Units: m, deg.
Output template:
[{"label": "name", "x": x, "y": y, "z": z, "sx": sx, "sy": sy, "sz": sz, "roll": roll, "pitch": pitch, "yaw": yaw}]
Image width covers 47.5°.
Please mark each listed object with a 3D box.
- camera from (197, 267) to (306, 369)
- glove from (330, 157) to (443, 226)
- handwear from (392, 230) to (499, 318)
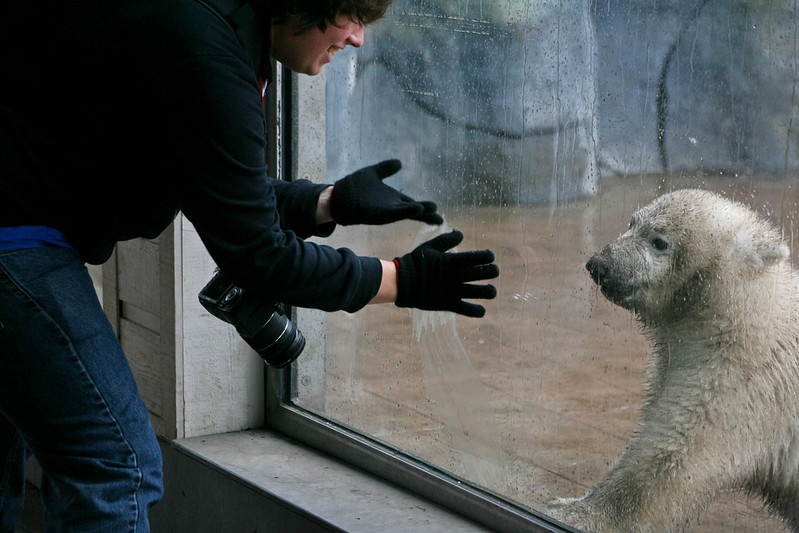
[{"label": "camera", "x": -0.336, "y": 0.112, "z": 2.128, "sx": 0.127, "sy": 0.219, "sz": 0.215, "roll": -45, "pitch": 25, "yaw": 0}, {"label": "glove", "x": -0.021, "y": -0.186, "z": 2.257, "sx": 0.179, "sy": 0.125, "sz": 0.058, "roll": 6, "pitch": -25, "yaw": -10}, {"label": "handwear", "x": 0.074, "y": 0.003, "z": 2.051, "sx": 0.313, "sy": 0.141, "sz": 0.223, "roll": -6, "pitch": 9, "yaw": -17}]
